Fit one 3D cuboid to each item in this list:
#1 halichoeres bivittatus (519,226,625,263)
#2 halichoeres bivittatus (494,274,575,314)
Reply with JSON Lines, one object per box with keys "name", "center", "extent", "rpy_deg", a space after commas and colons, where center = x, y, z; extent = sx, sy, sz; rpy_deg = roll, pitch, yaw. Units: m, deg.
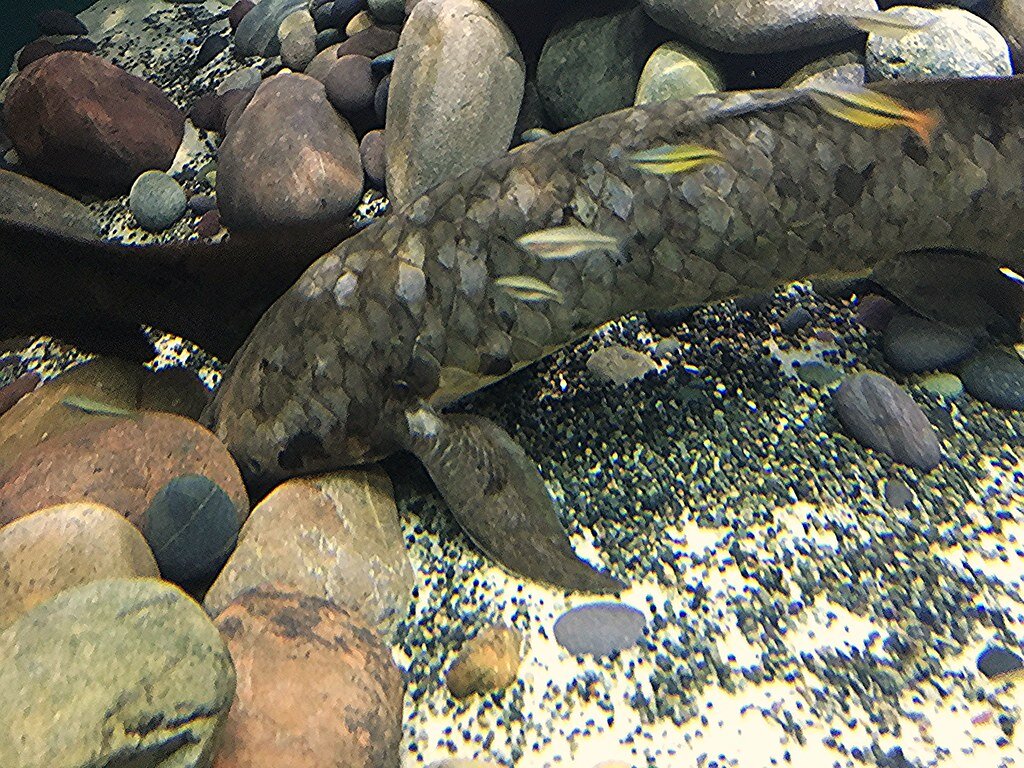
{"name": "halichoeres bivittatus", "center": [0.127, -0.327, 2.171], "extent": [0.163, 0.066, 0.041], "rpy_deg": [-3, 35, -4]}
{"name": "halichoeres bivittatus", "center": [0.042, -0.224, 2.260], "extent": [0.200, 0.094, 0.065], "rpy_deg": [10, 25, -12]}
